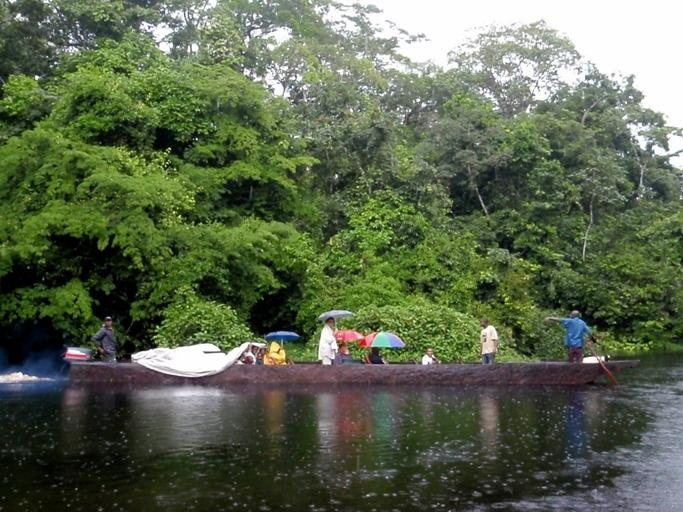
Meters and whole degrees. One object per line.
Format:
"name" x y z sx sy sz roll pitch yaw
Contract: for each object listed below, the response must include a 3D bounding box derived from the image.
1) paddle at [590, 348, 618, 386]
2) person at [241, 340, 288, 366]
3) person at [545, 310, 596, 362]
"paddle" 8.245 3.482 20.045 0.251 1.656 0.086 -22 -12 -25
"person" -2.387 3.069 19.804 1.012 0.391 0.770 5 11 -8
"person" 6.901 2.498 19.148 1.082 1.939 0.673 -2 20 14
